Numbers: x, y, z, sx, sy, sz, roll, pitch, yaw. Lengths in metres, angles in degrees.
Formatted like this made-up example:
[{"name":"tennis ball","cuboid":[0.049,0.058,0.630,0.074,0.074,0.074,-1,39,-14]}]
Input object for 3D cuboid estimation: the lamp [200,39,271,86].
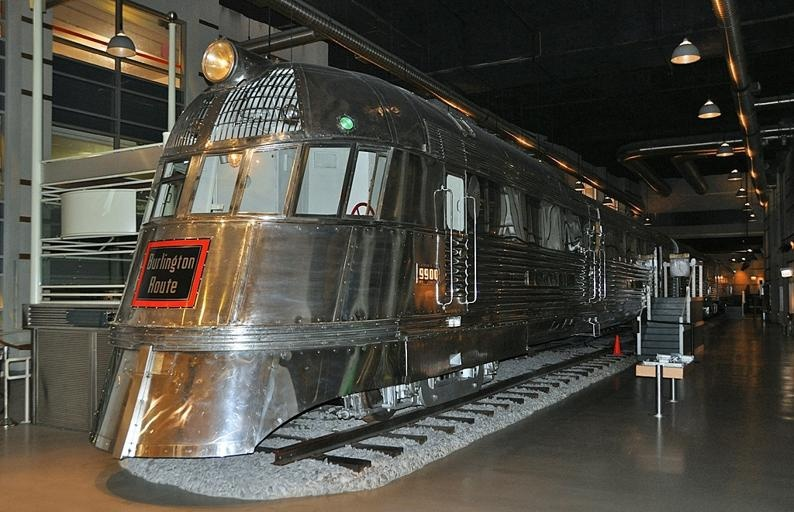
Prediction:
[{"name":"lamp","cuboid":[-2.039,-2.598,7.842,0.626,0.548,1.138,2,12,32]}]
